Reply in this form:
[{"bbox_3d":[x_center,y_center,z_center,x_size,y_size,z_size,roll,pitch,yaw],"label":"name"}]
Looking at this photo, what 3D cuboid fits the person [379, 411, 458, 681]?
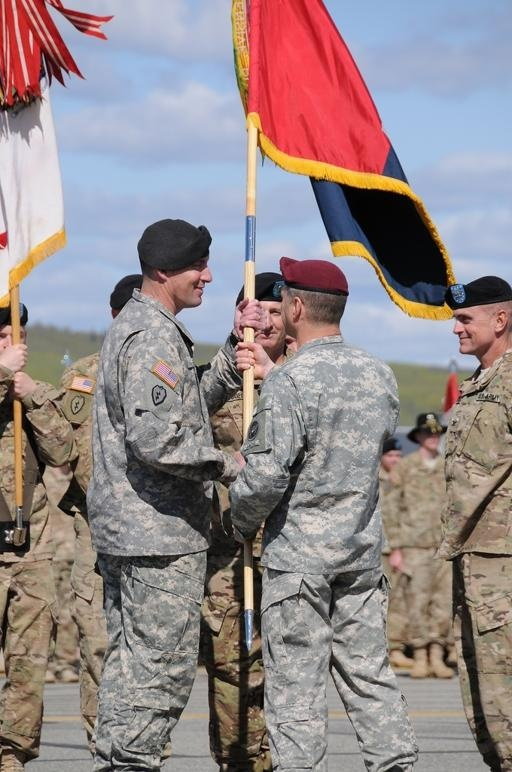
[{"bbox_3d":[1.283,1.133,15.600,0.575,1.914,0.449,2,18,10],"label":"person"}]
